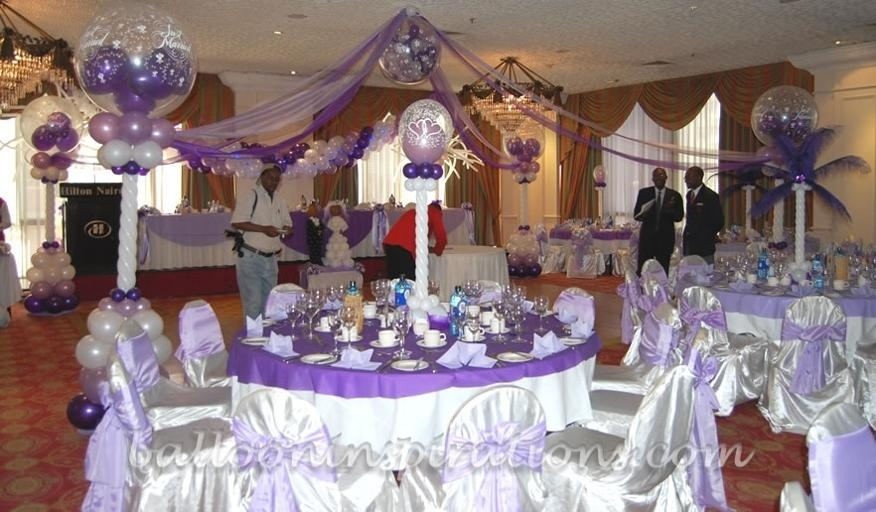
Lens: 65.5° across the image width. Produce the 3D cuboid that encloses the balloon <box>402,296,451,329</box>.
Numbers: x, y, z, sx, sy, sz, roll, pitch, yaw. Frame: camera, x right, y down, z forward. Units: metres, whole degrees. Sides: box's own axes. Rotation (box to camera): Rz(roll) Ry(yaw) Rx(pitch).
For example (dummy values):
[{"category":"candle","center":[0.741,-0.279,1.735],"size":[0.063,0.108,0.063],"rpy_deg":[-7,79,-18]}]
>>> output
[{"category":"balloon","center":[-0.083,0.502,6.275],"size":[0.346,0.174,0.263],"rpy_deg":[19,22,39]}]

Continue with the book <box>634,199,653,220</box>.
[{"category":"book","center":[3.275,-0.741,10.844],"size":[0.098,0.300,0.223],"rpy_deg":[36,13,0]}]

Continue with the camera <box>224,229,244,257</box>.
[{"category":"camera","center":[-2.857,-0.197,9.498],"size":[0.150,0.464,0.450],"rpy_deg":[-2,-32,-33]}]

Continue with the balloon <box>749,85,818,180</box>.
[{"category":"balloon","center":[4.343,-1.647,8.535],"size":[0.811,0.972,0.825],"rpy_deg":[1,-1,-10]}]

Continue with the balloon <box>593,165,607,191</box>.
[{"category":"balloon","center":[3.795,-1.874,15.984],"size":[0.287,0.605,0.851],"rpy_deg":[2,2,13]}]

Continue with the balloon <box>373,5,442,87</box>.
[{"category":"balloon","center":[-0.373,-2.712,8.924],"size":[0.820,1.016,0.835],"rpy_deg":[8,9,31]}]

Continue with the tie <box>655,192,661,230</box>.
[{"category":"tie","center":[3.460,-0.725,10.749],"size":[0.069,0.584,0.140],"rpy_deg":[0,-2,17]}]

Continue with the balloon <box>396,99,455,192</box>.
[{"category":"balloon","center":[-0.118,-1.049,6.376],"size":[0.494,0.877,0.300],"rpy_deg":[1,2,-3]}]

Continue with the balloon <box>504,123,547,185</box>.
[{"category":"balloon","center":[1.681,-1.999,13.275],"size":[0.954,1.491,0.980],"rpy_deg":[-1,0,-1]}]

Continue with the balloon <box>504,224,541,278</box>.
[{"category":"balloon","center":[1.810,-0.113,14.335],"size":[0.911,1.428,0.959],"rpy_deg":[0,-4,-5]}]

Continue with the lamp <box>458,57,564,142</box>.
[{"category":"lamp","center":[1.432,-3.086,13.423],"size":[2.128,1.730,2.156],"rpy_deg":[-5,12,-20]}]
